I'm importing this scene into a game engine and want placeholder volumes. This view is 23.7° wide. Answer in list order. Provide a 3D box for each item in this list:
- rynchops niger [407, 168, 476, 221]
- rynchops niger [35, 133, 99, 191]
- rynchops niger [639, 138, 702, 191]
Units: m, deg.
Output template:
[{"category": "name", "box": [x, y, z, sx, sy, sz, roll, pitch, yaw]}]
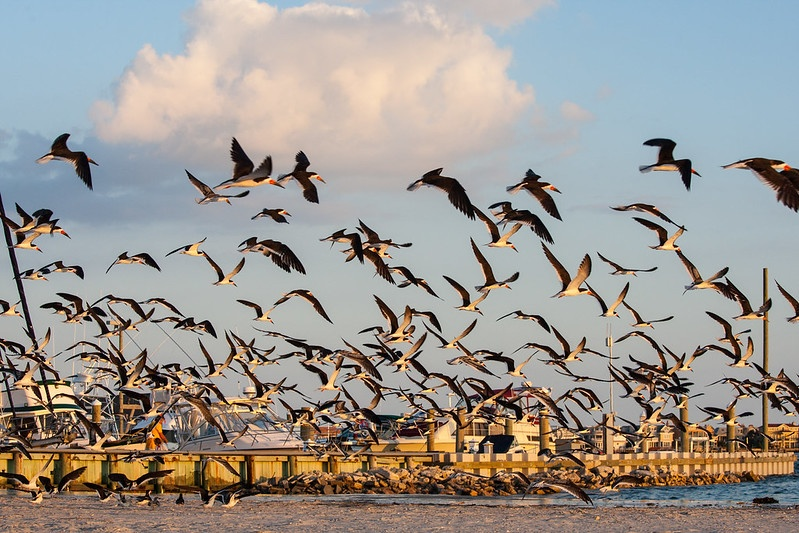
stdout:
[{"category": "rynchops niger", "box": [1.864, -3.054, 77.768, 2.148, 2.004, 3.647, -3, -6, 2]}, {"category": "rynchops niger", "box": [-13.990, -4.551, 79.795, 2.770, 0.724, 3.411, 5, -29, 16]}, {"category": "rynchops niger", "box": [11.090, -4.293, 78.889, 1.751, 2.100, 3.419, -4, -6, 8]}]
